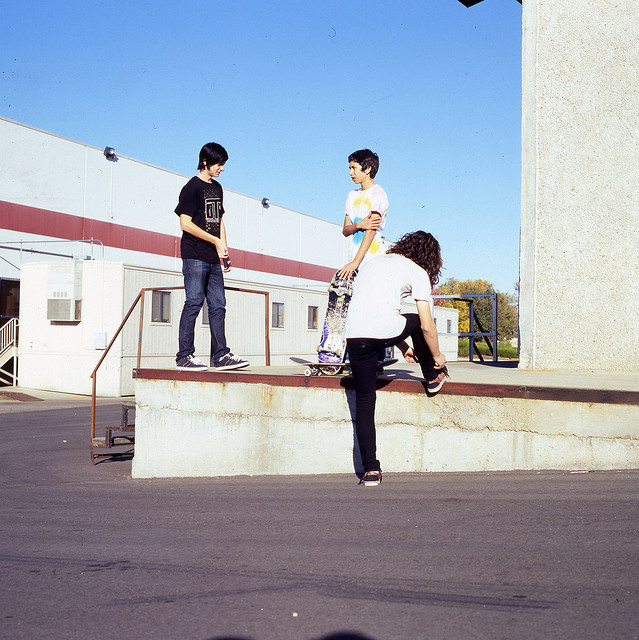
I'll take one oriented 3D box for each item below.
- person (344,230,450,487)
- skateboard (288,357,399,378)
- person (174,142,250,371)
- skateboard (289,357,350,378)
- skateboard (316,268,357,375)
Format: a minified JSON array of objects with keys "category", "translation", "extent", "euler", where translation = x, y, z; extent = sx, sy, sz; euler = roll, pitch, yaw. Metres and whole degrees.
[{"category":"person","translation":[0.528,0.269,6.133],"extent":[0.655,1.692,0.807],"euler":[-1,7,7]},{"category":"skateboard","translation":[0.185,0.358,6.689],"extent":[0.671,0.151,0.206],"euler":[1,-1,11]},{"category":"person","translation":[-0.895,-0.459,7.136],"extent":[0.561,1.812,0.542],"euler":[-4,7,-16]},{"category":"skateboard","translation":[-0.099,0.354,6.843],"extent":[0.184,0.145,0.688],"euler":[-2,4,-41]},{"category":"skateboard","translation":[0.131,0.009,6.596],"extent":[0.182,0.914,0.123],"euler":[4,-33,10]}]
